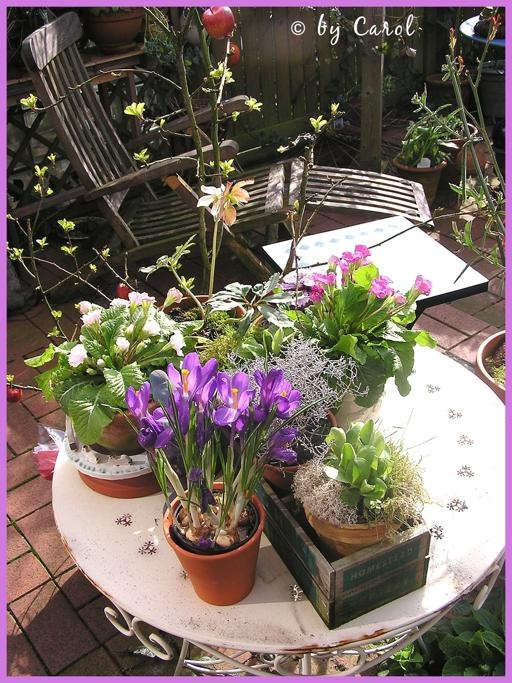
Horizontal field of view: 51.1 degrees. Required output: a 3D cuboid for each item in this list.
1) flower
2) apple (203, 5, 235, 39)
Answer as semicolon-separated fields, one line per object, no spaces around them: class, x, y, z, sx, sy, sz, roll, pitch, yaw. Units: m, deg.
flower;0.027;0.100;0.995;0.635;0.286;0.592;2;23;-3
apple;-0.087;-0.728;1.222;0.064;0.065;0.177;-5;31;-3
